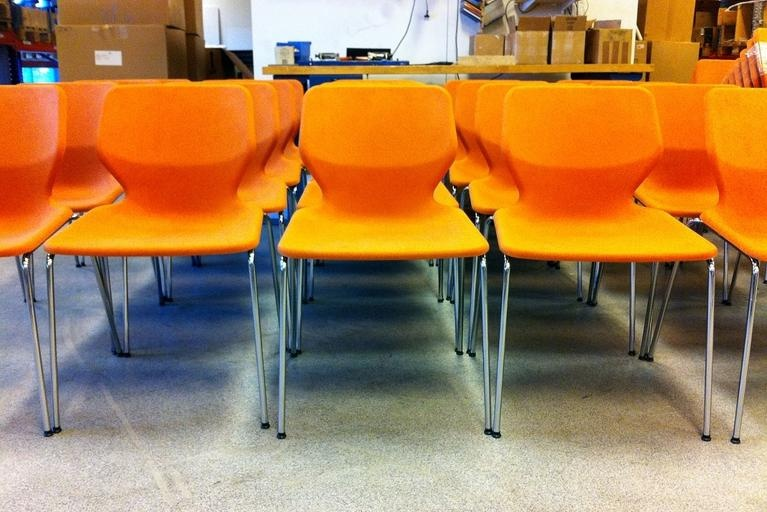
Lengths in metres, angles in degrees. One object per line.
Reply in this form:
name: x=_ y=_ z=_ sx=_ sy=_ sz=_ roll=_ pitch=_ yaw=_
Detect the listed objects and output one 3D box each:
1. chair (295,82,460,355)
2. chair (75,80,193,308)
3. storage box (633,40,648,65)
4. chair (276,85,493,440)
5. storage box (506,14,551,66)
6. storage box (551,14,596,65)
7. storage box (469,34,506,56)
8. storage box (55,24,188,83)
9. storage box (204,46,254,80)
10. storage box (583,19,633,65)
chair: x=-0.012 y=-0.352 z=2.610 sx=0.807 sy=1.063 sz=0.755 roll=0 pitch=12 yaw=-2
chair: x=-0.984 y=-0.336 z=2.361 sx=0.497 sy=0.641 sz=0.541 roll=-5 pitch=18 yaw=-15
storage box: x=2.750 y=-2.177 z=6.447 sx=0.146 sy=0.254 sz=0.494 roll=7 pitch=17 yaw=21
chair: x=0.003 y=-0.129 z=2.686 sx=0.912 sy=1.240 sz=1.020 roll=-1 pitch=17 yaw=-2
storage box: x=1.488 y=-2.204 z=6.183 sx=0.422 sy=0.476 sz=0.376 roll=3 pitch=18 yaw=10
storage box: x=1.892 y=-2.194 z=6.144 sx=0.382 sy=0.479 sz=0.320 roll=2 pitch=18 yaw=6
storage box: x=1.090 y=-2.199 z=6.294 sx=0.327 sy=0.219 sz=0.312 roll=4 pitch=17 yaw=14
storage box: x=-2.338 y=-1.761 z=5.421 sx=0.841 sy=0.455 sz=0.786 roll=1 pitch=15 yaw=3
storage box: x=-1.988 y=-2.485 z=7.850 sx=0.435 sy=0.370 sz=1.405 roll=-2 pitch=16 yaw=-6
storage box: x=2.294 y=-2.191 z=6.219 sx=0.450 sy=0.249 sz=0.424 roll=1 pitch=16 yaw=5
